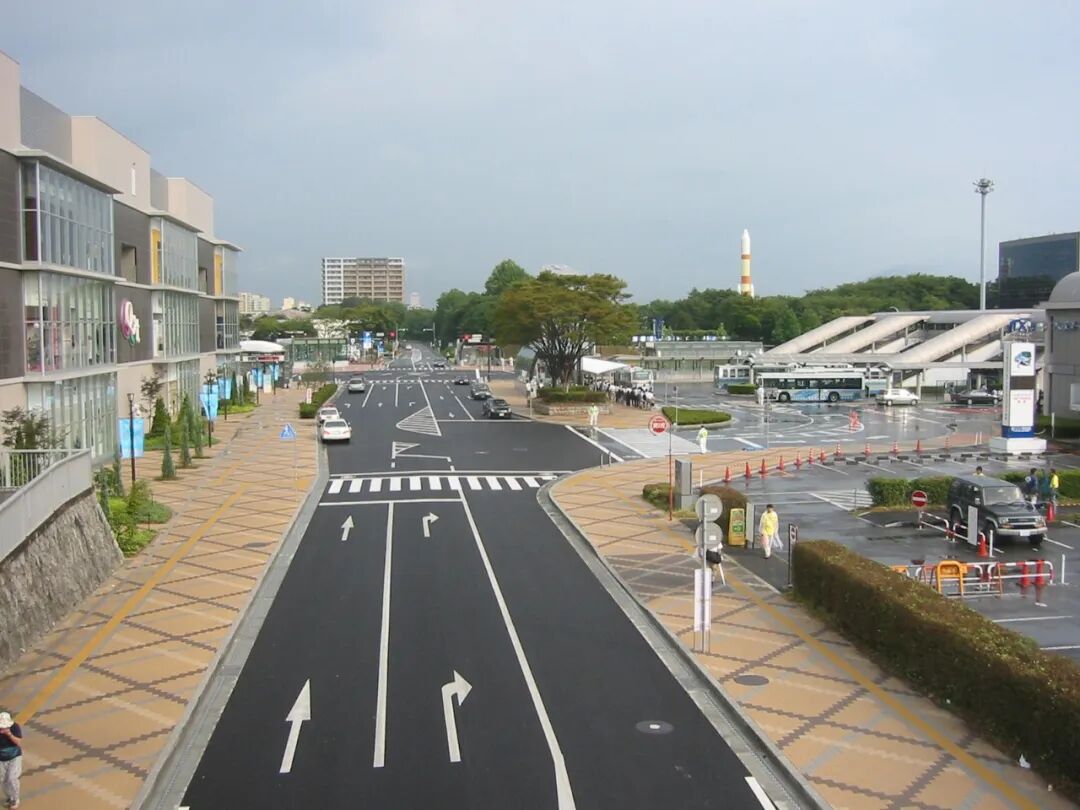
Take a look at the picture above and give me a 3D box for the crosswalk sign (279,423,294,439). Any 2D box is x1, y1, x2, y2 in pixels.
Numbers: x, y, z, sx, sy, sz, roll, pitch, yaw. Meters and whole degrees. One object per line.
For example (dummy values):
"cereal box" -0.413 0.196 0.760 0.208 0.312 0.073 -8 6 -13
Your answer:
"crosswalk sign" -14.397 1.396 48.653 0.912 1.015 0.108 1 1 -11

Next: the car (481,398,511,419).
"car" -3.707 0.239 70.659 1.689 1.443 4.183 -1 2 -9

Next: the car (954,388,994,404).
"car" 41.525 -0.904 82.298 2.917 0.974 1.365 -2 5 14

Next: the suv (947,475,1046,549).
"suv" 15.987 3.790 31.059 2.135 1.980 4.014 -1 1 -5

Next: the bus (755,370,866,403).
"bus" 27.336 -1.883 86.179 10.775 3.725 3.249 1 1 -3

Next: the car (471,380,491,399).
"car" -6.103 -1.426 86.552 1.401 1.233 2.362 -1 -2 -11

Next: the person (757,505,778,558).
"person" 7.738 4.136 29.169 0.518 1.742 1.493 1 7 14

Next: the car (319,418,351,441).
"car" -13.246 1.623 55.399 1.539 1.423 2.179 -4 8 -25

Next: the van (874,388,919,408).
"van" 34.639 -0.729 82.898 3.117 1.598 2.061 -3 4 6
